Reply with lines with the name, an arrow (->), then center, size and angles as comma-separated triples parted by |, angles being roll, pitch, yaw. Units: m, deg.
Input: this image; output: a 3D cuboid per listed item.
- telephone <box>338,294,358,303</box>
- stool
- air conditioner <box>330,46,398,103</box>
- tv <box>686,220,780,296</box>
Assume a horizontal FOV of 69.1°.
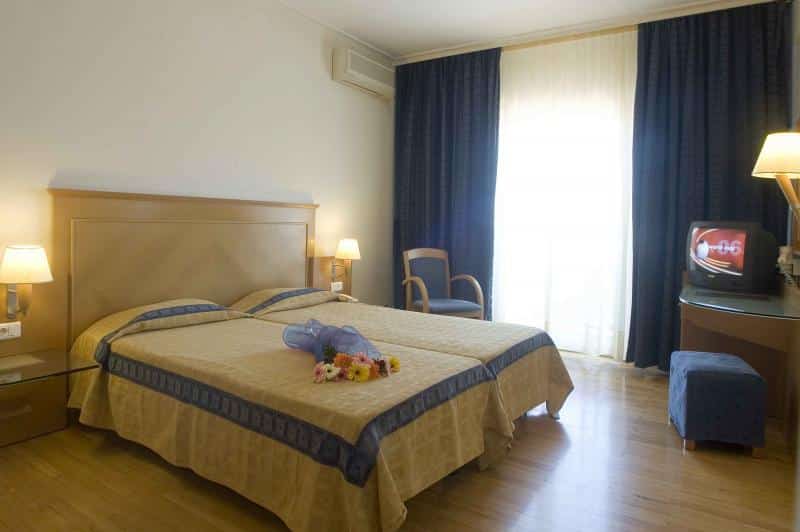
telephone -> -0.577, 0.342, 6.054 | 0.135, 0.045, 0.102 | 6, 5, 40
stool -> 2.559, 1.064, 4.769 | 0.551, 0.663, 0.760 | 2, 2, 16
air conditioner -> -0.423, -2.245, 6.830 | 0.204, 0.436, 0.963 | 3, 9, 33
tv -> 3.074, -0.135, 5.436 | 0.610, 0.652, 0.689 | -9, 10, -32
